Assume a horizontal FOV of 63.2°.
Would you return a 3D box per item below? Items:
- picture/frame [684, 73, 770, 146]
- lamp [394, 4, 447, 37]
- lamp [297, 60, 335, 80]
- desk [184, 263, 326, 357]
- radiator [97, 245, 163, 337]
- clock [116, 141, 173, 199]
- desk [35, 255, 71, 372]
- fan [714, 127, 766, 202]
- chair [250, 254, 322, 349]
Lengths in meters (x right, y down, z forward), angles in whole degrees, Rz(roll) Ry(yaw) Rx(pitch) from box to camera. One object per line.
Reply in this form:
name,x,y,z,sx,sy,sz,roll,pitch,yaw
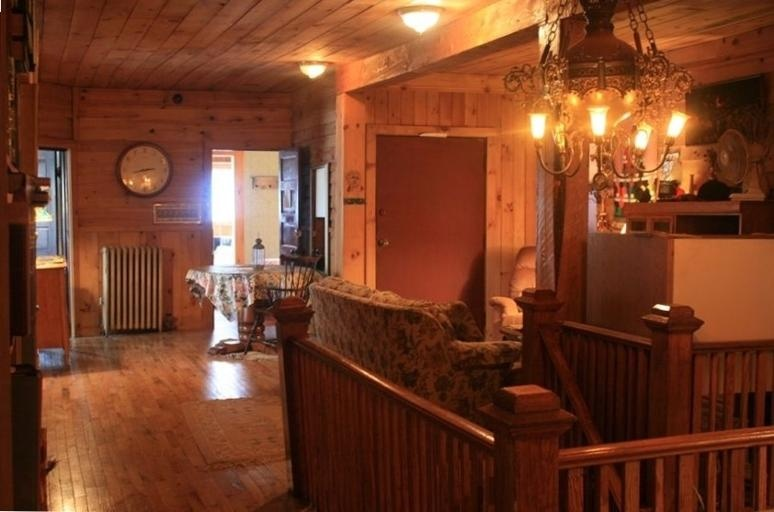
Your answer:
picture/frame,3.321,-1.434,6.137,0.043,0.680,1.029,1,0,-19
lamp,0.276,-2.007,5.331,0.366,0.174,0.294,0,7,3
lamp,-0.779,-2.132,7.202,0.252,0.116,0.257,7,12,27
desk,-1.609,0.462,7.481,1.309,0.767,1.306,0,9,-13
radiator,-3.390,0.416,8.488,0.771,1.161,0.520,1,10,-19
clock,-3.236,-1.136,8.483,0.681,0.691,0.683,0,3,-22
desk,-3.646,0.629,6.918,0.326,1.151,0.764,-5,8,-28
fan,3.374,-0.863,6.026,0.297,0.443,0.689,0,19,-4
chair,-1.162,0.576,7.291,0.665,1.085,0.706,3,0,-40
